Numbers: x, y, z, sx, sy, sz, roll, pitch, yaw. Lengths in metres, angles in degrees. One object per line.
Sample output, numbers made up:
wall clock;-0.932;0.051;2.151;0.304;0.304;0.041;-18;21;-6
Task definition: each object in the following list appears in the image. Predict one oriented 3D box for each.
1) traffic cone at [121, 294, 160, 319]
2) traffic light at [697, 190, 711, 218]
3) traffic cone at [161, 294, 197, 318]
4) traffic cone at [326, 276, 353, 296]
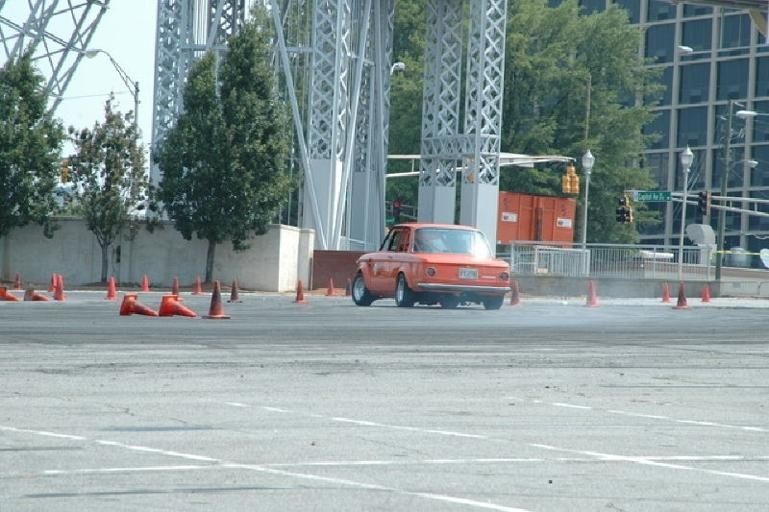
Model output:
traffic cone;-8.399;1.718;61.082;0.993;0.567;0.754;3;4;17
traffic light;16.110;-2.747;88.615;0.511;1.305;1.345;3;14;9
traffic cone;-7.071;1.740;61.029;1.382;0.585;0.989;9;16;29
traffic cone;-1.803;1.287;75.247;0.941;0.679;0.665;-1;3;-14
